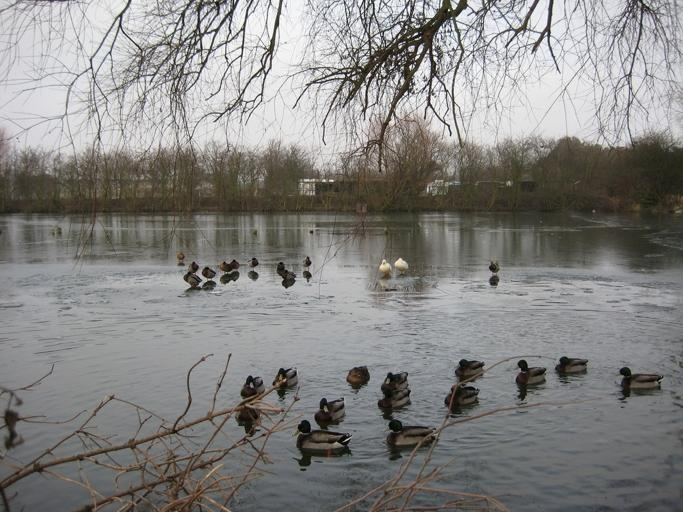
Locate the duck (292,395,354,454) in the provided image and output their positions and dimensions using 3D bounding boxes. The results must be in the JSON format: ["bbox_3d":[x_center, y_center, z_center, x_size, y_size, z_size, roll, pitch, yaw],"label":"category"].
[{"bbox_3d":[-0.327,2.900,10.834,1.026,0.885,1.268,2,6,-1],"label":"duck"}]

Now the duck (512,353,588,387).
[{"bbox_3d":[4.202,2.324,12.932,1.572,0.689,0.585,-2,-4,-13],"label":"duck"}]

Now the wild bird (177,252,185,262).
[{"bbox_3d":[-7.388,0.077,29.344,0.394,0.440,0.333,-7,15,-34],"label":"wild bird"}]

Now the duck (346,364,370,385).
[{"bbox_3d":[0.329,2.372,12.706,0.261,0.313,0.449,1,-3,6],"label":"duck"}]

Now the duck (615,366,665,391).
[{"bbox_3d":[5.662,2.302,12.081,0.700,0.485,0.402,-1,-3,17],"label":"duck"}]

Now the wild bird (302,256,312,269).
[{"bbox_3d":[-1.394,0.293,26.033,0.276,0.377,0.877,2,-12,-1],"label":"wild bird"}]

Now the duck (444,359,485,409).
[{"bbox_3d":[2.400,2.405,12.381,0.594,0.607,2.534,2,7,17],"label":"duck"}]

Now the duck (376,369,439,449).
[{"bbox_3d":[1.010,2.743,11.014,0.648,1.213,1.832,-2,-7,38],"label":"duck"}]

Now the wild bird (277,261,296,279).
[{"bbox_3d":[-2.172,0.576,24.546,0.831,0.626,0.530,3,-4,5],"label":"wild bird"}]
